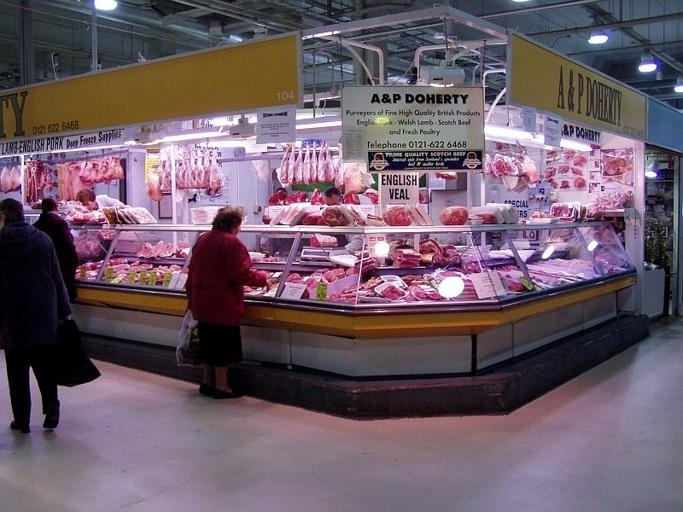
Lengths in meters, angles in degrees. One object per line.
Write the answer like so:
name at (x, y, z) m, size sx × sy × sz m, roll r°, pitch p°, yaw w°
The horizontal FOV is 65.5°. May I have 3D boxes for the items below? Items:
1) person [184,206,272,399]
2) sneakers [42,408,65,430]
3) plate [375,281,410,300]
person at (-1.123, 0.462, 5.145) m, size 0.794 × 1.879 × 0.383 m, roll 0°, pitch 6°, yaw -3°
sneakers at (-2.477, 1.387, 4.563) m, size 0.107 × 0.183 × 0.091 m, roll 12°, pitch -7°, yaw -6°
plate at (0.465, 0.332, 4.954) m, size 0.181 × 0.070 × 0.212 m, roll -10°, pitch 20°, yaw -32°
